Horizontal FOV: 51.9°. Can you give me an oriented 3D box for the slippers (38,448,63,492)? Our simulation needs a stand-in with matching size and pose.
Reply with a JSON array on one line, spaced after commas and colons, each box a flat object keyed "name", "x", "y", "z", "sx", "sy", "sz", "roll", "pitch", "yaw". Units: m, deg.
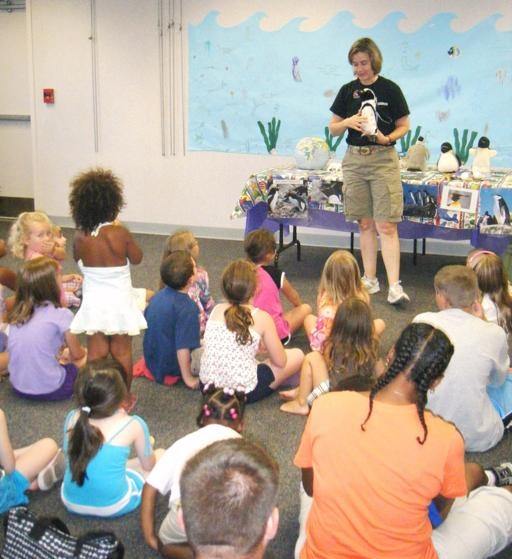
[{"name": "slippers", "x": -0.712, "y": 0.667, "z": 1.823, "sx": 0.074, "sy": 0.126, "sz": 0.064, "roll": -17, "pitch": 47, "yaw": -43}]

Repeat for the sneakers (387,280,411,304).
[{"name": "sneakers", "x": 0.927, "y": 0.087, "z": 3.437, "sx": 0.084, "sy": 0.102, "sz": 0.198, "roll": -6, "pitch": -2, "yaw": -7}]

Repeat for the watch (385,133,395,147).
[{"name": "watch", "x": 0.850, "y": -0.882, "z": 3.320, "sx": 0.050, "sy": 0.075, "sz": 0.041, "roll": -1, "pitch": 3, "yaw": 8}]

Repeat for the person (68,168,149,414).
[{"name": "person", "x": -0.685, "y": 0.043, "z": 2.437, "sx": 0.323, "sy": 1.051, "sz": 0.336, "roll": -3, "pitch": 8, "yaw": -12}]

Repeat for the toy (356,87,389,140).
[{"name": "toy", "x": 0.700, "y": -1.047, "z": 3.290, "sx": 0.133, "sy": 0.304, "sz": 0.169, "roll": 2, "pitch": 12, "yaw": 11}]
